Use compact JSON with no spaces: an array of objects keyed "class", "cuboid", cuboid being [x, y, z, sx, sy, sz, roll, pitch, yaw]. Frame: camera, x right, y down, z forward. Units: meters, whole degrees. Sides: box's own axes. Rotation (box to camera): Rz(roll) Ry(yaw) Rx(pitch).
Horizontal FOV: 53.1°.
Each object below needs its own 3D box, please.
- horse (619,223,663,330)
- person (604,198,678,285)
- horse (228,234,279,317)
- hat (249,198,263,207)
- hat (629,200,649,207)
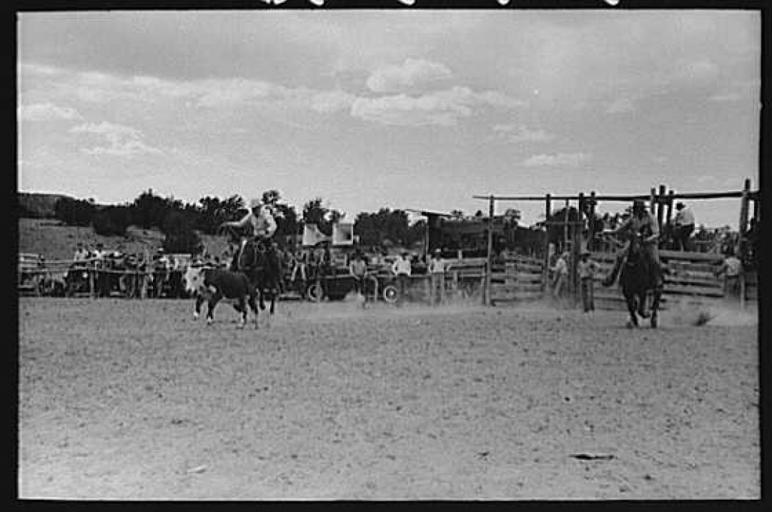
[{"class":"horse","cuboid":[2.523,0.252,7.783,0.300,0.988,1.254,0,-6,17]},{"class":"person","cuboid":[2.408,-0.122,7.295,0.544,1.196,0.773,-4,-10,25]},{"class":"horse","cuboid":[-1.330,0.368,7.666,0.166,0.440,0.627,-14,34,-32]},{"class":"hat","cuboid":[-1.236,-0.515,7.236,0.113,0.080,0.255,1,-1,5]},{"class":"hat","cuboid":[2.440,-0.513,7.410,0.139,0.067,0.107,1,-1,40]}]
